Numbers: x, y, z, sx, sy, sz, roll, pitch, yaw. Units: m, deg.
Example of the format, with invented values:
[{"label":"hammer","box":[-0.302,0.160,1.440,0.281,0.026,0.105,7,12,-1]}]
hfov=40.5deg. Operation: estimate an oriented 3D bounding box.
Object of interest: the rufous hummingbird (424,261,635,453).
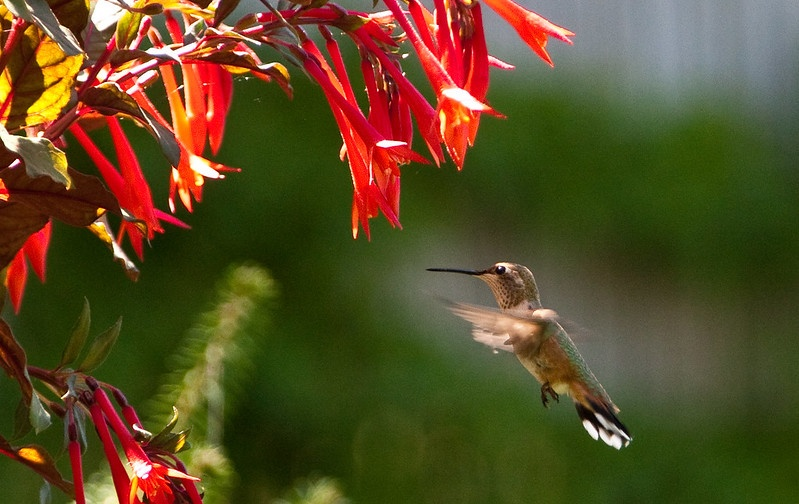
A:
[{"label":"rufous hummingbird","box":[0.353,0.282,3.184,0.644,0.521,0.362,8,-1,7]}]
